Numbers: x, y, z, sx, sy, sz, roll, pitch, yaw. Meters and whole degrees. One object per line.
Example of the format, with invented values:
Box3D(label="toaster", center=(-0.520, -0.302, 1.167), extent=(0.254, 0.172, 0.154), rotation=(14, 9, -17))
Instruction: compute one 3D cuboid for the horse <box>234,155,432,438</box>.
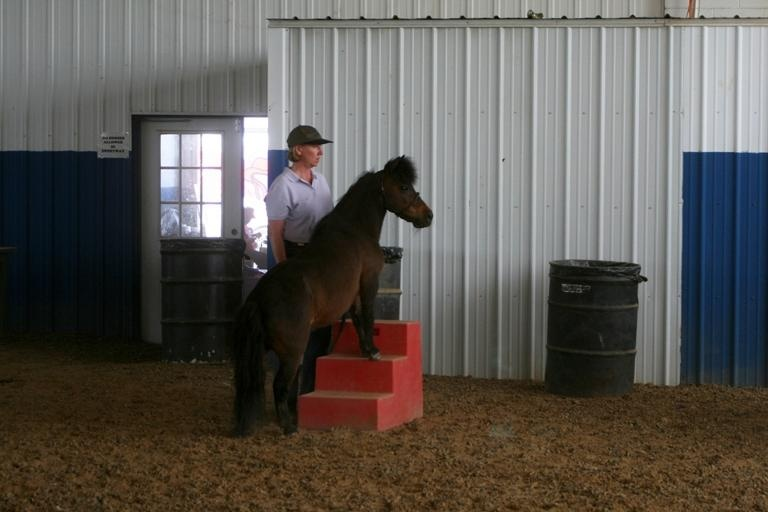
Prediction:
Box3D(label="horse", center=(-0.624, 0.435, 7.805), extent=(1.488, 2.293, 0.431), rotation=(-7, 13, -35))

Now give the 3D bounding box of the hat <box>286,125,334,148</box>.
Box3D(label="hat", center=(-0.699, -1.113, 8.083), extent=(0.286, 0.174, 0.231), rotation=(-11, 12, 1))
